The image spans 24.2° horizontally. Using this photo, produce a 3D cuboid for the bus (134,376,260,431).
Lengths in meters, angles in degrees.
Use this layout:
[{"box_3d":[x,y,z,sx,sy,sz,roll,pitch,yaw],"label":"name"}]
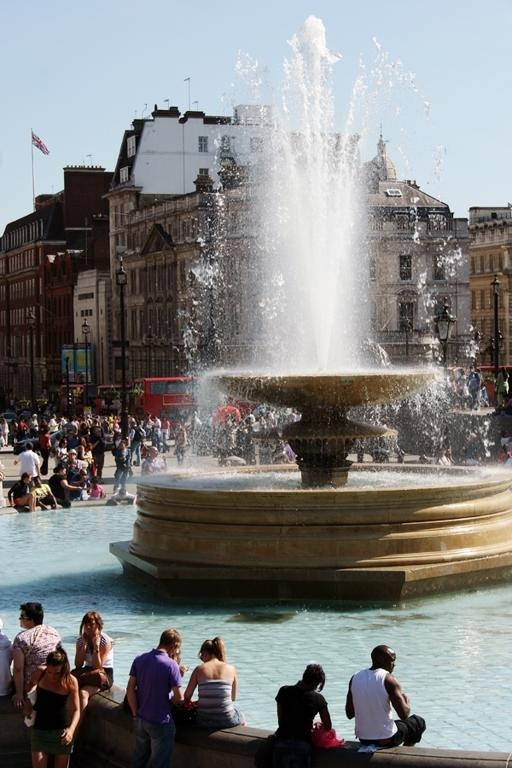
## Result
[{"box_3d":[-2.309,0.326,51.758,5.706,3.374,2.286,2,-4,-11],"label":"bus"}]
